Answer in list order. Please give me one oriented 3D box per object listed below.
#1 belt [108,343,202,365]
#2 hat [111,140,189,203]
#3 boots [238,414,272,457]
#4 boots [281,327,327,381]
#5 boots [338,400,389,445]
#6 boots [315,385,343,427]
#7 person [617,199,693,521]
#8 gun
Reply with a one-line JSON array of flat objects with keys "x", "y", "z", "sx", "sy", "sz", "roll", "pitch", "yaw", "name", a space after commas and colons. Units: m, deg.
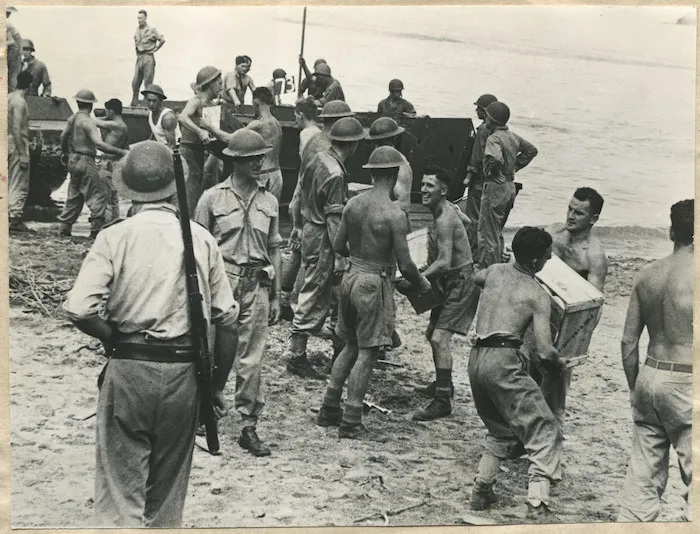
[{"x": -1.724, "y": 0.767, "z": 11.747, "sx": 0.712, "sy": 0.158, "sz": 0.077, "roll": 4, "pitch": 10, "yaw": -6, "name": "belt"}, {"x": -1.833, "y": -0.850, "z": 11.871, "sx": 0.626, "sy": 0.530, "sz": 0.250, "roll": 8, "pitch": -22, "yaw": -2, "name": "hat"}, {"x": -0.960, "y": 1.727, "z": 13.514, "sx": 0.417, "sy": 0.318, "sz": 0.163, "roll": 14, "pitch": 6, "yaw": 39, "name": "boots"}, {"x": -0.403, "y": 1.051, "z": 14.942, "sx": 0.737, "sy": 0.598, "sz": 0.288, "roll": 6, "pitch": 9, "yaw": -10, "name": "boots"}, {"x": 0.209, "y": 1.585, "z": 14.067, "sx": 0.502, "sy": 0.372, "sz": 0.737, "roll": 7, "pitch": 9, "yaw": 12, "name": "boots"}, {"x": -0.208, "y": 1.464, "z": 14.072, "sx": 0.274, "sy": 0.424, "sz": 0.351, "roll": 6, "pitch": 9, "yaw": 1, "name": "boots"}, {"x": 3.017, "y": 0.936, "z": 12.668, "sx": 0.585, "sy": 3.113, "sz": 0.766, "roll": 3, "pitch": 10, "yaw": -20, "name": "person"}, {"x": -1.622, "y": 0.443, "z": 11.844, "sx": 0.252, "sy": 2.978, "sz": 0.743, "roll": -7, "pitch": 12, "yaw": -4, "name": "gun"}]
